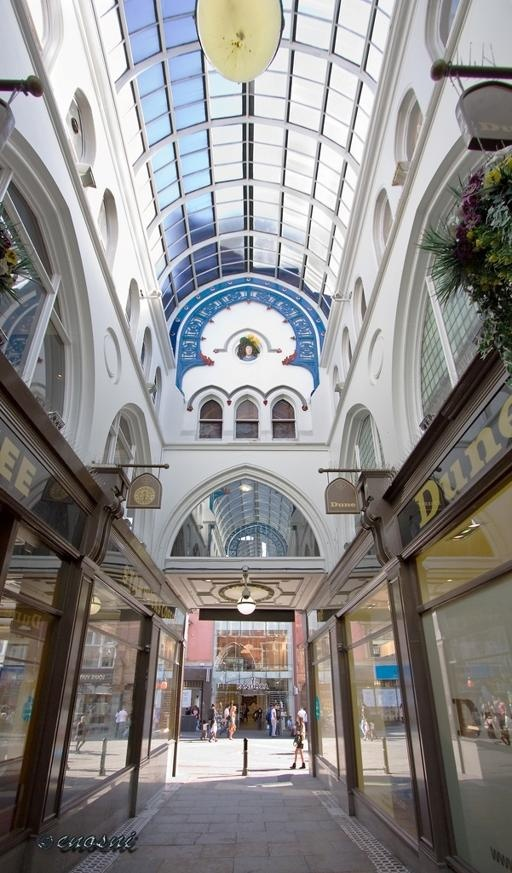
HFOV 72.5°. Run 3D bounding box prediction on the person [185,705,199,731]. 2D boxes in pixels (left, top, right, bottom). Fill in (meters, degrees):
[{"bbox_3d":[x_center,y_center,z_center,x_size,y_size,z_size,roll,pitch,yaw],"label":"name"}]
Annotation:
[{"bbox_3d":[-4.296,19.020,23.385,0.802,1.108,1.517,-1,-41,1],"label":"person"}]
